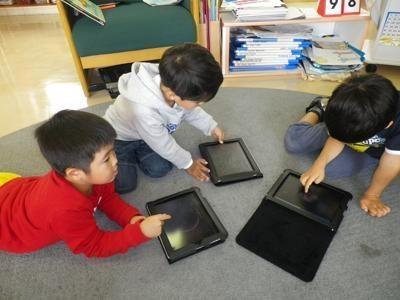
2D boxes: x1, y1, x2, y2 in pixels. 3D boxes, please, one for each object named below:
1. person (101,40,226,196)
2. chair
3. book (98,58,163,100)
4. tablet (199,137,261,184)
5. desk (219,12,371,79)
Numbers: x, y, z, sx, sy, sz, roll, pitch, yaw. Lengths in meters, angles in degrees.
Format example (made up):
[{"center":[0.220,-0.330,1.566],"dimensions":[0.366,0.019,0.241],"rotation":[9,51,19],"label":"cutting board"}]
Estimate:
[{"center":[-0.160,-0.177,1.529],"dimensions":[0.660,0.827,0.496],"rotation":[0,46,-13],"label":"person"},{"center":[-0.520,-0.861,2.423],"dimensions":[0.887,0.856,0.666],"rotation":[-14,33,-14],"label":"chair"},{"center":[-0.558,-0.534,2.335],"dimensions":[0.370,0.103,0.261],"rotation":[-12,51,-14],"label":"book"},{"center":[0.157,0.052,1.669],"dimensions":[0.283,0.044,0.303],"rotation":[-10,47,-16],"label":"tablet"},{"center":[0.694,-0.871,2.381],"dimensions":[1.099,0.435,0.362],"rotation":[-8,41,-5],"label":"desk"}]
